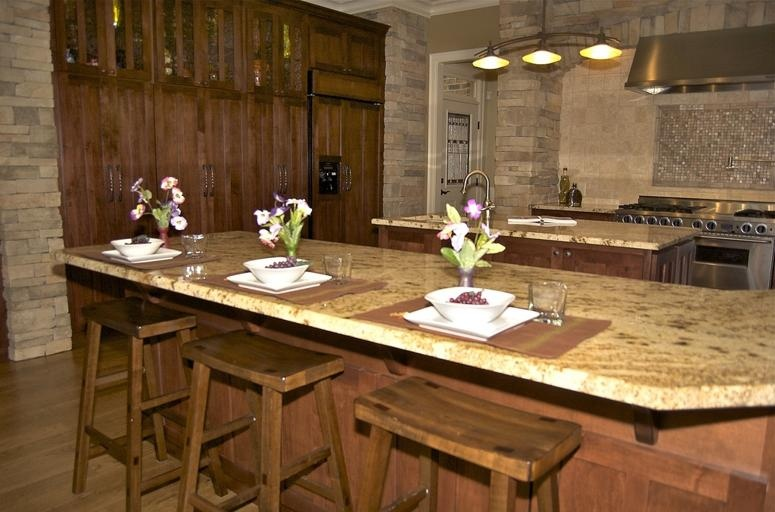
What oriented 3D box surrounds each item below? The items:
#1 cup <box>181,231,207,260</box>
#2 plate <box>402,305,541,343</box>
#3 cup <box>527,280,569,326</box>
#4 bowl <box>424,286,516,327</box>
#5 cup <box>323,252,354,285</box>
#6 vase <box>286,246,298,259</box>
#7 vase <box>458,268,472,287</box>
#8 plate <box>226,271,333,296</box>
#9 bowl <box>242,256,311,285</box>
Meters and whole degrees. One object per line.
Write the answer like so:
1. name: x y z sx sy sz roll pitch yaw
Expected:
1. cup: -1.105 -0.062 3.023 0.139 0.149 0.137 1 1 0
2. plate: 0.282 0.251 1.992 0.221 0.038 0.219 6 13 35
3. cup: 0.613 0.176 2.053 0.162 0.185 0.159 2 0 0
4. bowl: 0.295 0.175 1.989 0.203 0.063 0.181 4 11 28
5. cup: -0.226 0.069 2.549 0.141 0.129 0.116 0 5 2
6. vase: -0.463 -0.018 2.605 0.055 0.083 0.058 1 -1 -3
7. vase: 0.328 0.093 2.297 0.067 0.073 0.072 0 2 -23
8. plate: -0.537 0.128 2.436 0.184 0.029 0.215 8 13 30
9. bowl: -0.490 0.065 2.445 0.194 0.062 0.171 -5 8 -37
